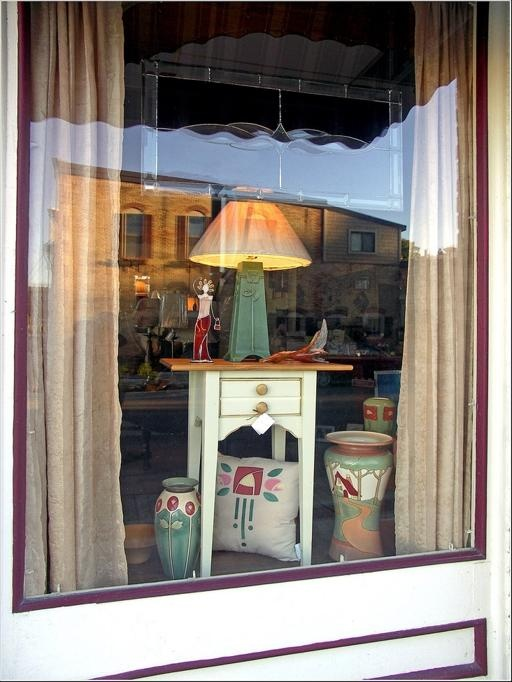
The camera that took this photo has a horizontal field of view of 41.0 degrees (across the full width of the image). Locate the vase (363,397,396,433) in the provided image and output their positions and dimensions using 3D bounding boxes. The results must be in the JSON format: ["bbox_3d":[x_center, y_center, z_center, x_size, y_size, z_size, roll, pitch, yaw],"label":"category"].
[{"bbox_3d":[0.418,0.244,2.405,0.110,0.188,0.124,1,1,0],"label":"vase"}]

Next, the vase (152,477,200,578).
[{"bbox_3d":[-0.241,0.588,2.165,0.166,0.260,0.167,0,3,-19],"label":"vase"}]

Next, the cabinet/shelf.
[{"bbox_3d":[-0.007,0.392,2.263,0.606,0.656,0.251,0,2,-9],"label":"cabinet/shelf"}]

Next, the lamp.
[{"bbox_3d":[-0.009,-0.214,2.494,0.397,0.591,0.434,0,-3,1],"label":"lamp"}]

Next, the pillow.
[{"bbox_3d":[-0.008,0.580,2.353,0.309,0.317,0.115,5,-31,0],"label":"pillow"}]

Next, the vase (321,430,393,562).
[{"bbox_3d":[0.361,0.567,2.432,0.240,0.401,0.246,-3,-10,29],"label":"vase"}]
